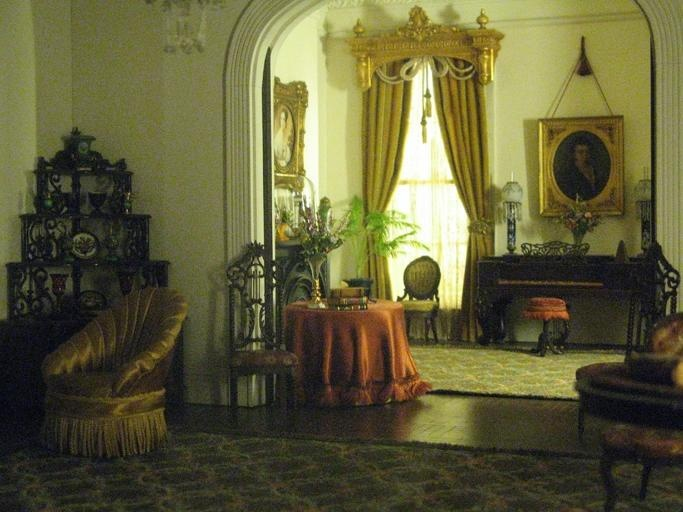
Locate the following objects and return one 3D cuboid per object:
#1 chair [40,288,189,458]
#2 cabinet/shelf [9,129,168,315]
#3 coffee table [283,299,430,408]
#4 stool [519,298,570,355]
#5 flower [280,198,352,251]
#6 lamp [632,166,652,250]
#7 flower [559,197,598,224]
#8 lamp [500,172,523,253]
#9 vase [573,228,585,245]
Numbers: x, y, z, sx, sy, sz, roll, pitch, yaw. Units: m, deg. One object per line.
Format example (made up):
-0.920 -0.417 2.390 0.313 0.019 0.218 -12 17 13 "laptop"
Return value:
-1.757 0.937 6.303 1.034 1.276 1.168 -2 -8 31 "chair"
-2.337 -0.315 7.129 1.616 2.008 0.501 0 0 -20 "cabinet/shelf"
-0.055 0.838 7.118 0.920 0.530 0.922 -2 1 -42 "coffee table"
2.451 0.806 9.275 0.614 0.810 0.645 -1 3 2 "stool"
-0.312 -0.250 7.564 0.617 0.595 0.655 -3 -5 20 "flower"
3.564 -0.559 9.153 0.200 0.932 0.686 2 8 21 "lamp"
2.946 -0.609 9.645 0.358 0.423 0.363 5 7 44 "flower"
2.142 -0.538 9.713 0.269 0.931 0.625 1 8 12 "lamp"
2.939 -0.228 9.608 0.168 0.261 0.168 -1 3 -30 "vase"
